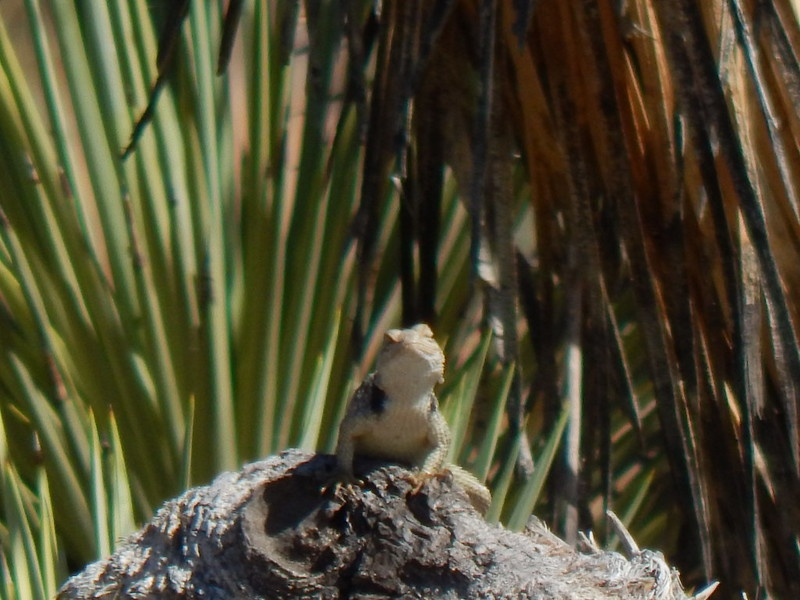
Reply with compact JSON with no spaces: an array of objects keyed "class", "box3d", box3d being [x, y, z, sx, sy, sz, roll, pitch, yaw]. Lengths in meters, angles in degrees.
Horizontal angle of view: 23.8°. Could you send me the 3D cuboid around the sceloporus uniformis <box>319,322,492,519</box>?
[{"class":"sceloporus uniformis","box3d":[-0.006,0.328,5.598,0.302,0.584,0.259,1,39,0]}]
